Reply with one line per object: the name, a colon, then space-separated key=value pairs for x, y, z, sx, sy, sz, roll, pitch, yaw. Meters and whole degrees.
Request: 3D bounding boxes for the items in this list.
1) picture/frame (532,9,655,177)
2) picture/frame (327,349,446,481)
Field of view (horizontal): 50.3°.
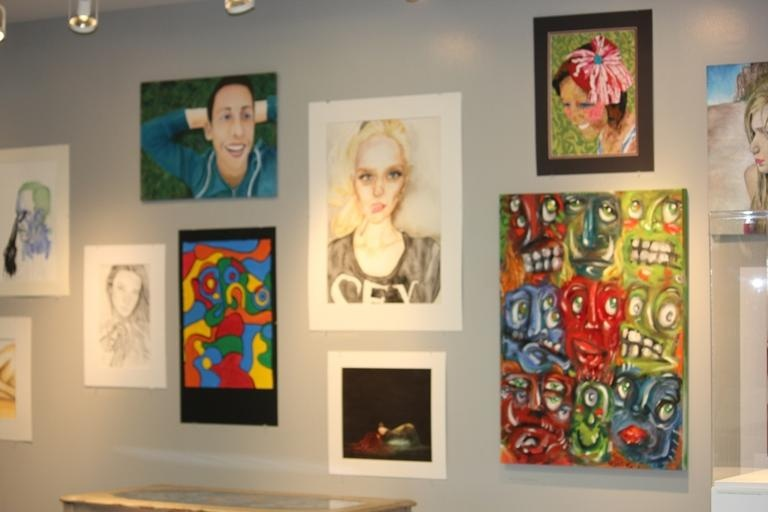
picture/frame: x=1.176 y=-0.933 z=4.639 sx=0.643 sy=0.978 sz=0.031 roll=0 pitch=-17 yaw=13
picture/frame: x=0.007 y=0.924 z=4.754 sx=0.660 sy=0.763 sz=0.024 roll=1 pitch=18 yaw=3
